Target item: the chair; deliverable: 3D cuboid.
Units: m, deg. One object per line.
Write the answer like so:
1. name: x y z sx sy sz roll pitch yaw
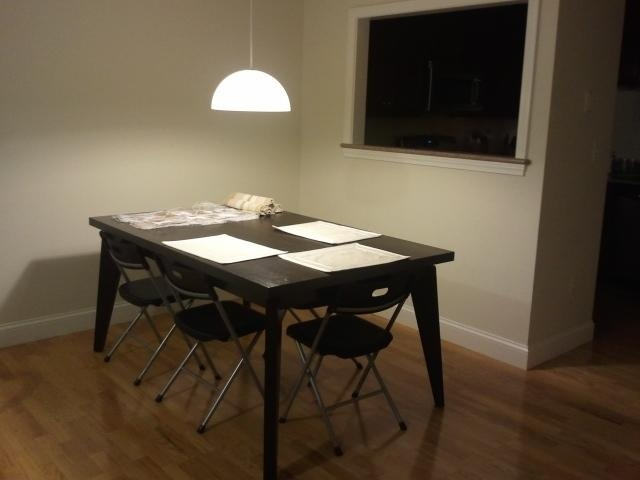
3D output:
1. chair: -0.399 0.575 2.938 1.880 1.018 0.900 8 17 26
